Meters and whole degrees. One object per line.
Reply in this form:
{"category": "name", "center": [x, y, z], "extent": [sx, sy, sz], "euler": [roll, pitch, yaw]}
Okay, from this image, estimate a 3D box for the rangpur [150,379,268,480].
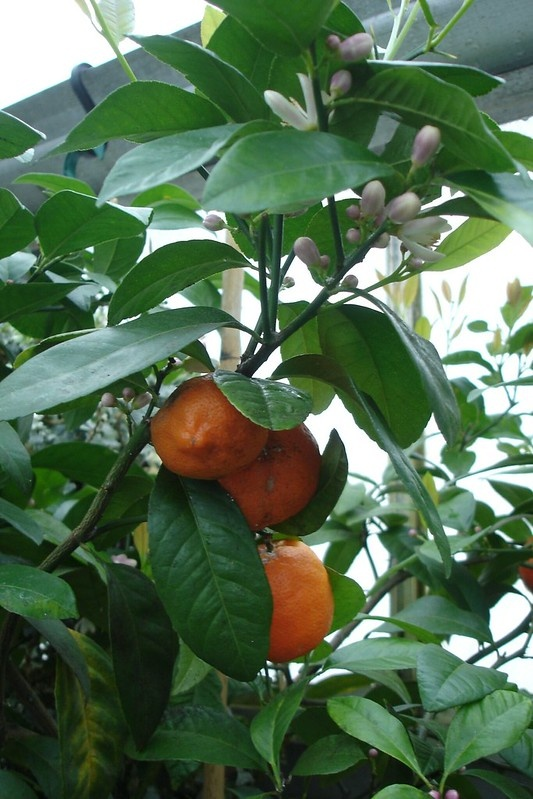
{"category": "rangpur", "center": [-0.045, 0.021, 0.608], "extent": [0.069, 0.075, 0.076], "euler": [27, -43, -31]}
